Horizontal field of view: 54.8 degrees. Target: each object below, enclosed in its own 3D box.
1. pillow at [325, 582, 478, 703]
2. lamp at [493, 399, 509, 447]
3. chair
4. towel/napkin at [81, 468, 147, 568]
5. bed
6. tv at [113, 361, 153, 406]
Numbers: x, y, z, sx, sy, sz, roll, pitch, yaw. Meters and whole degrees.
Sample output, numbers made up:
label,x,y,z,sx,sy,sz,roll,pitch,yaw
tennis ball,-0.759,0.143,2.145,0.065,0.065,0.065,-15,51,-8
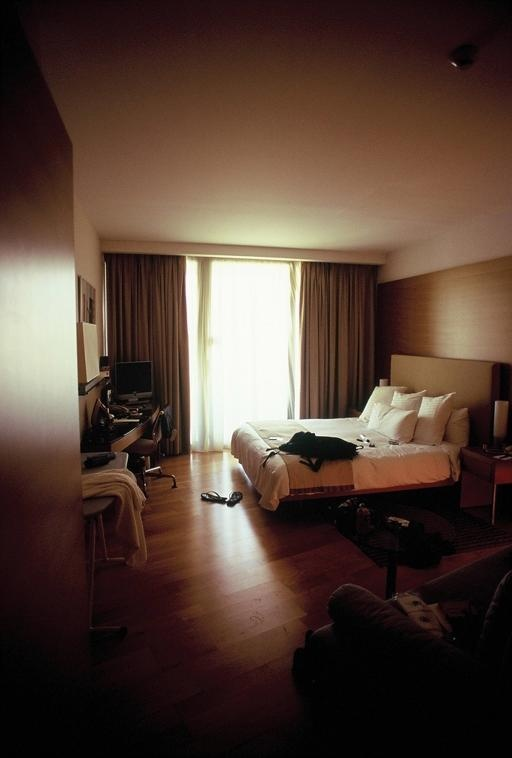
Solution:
label,x,y,z,sx,sy,sz,roll,pitch,yaw
pillow,0.367,0.650,1.242,0.084,0.142,0.381,-6,-4,-15
lamp,1.780,0.305,3.552,0.144,0.305,0.077,-3,5,-19
chair,-0.928,0.631,4.345,0.471,0.772,0.569,0,3,-10
towel/napkin,-0.646,0.757,2.381,0.337,0.188,0.532,-1,12,-15
bed,1.099,0.444,3.937,1.269,0.868,1.449,-4,10,-9
tv,-1.254,0.035,5.011,0.344,0.463,0.149,-2,3,-33
